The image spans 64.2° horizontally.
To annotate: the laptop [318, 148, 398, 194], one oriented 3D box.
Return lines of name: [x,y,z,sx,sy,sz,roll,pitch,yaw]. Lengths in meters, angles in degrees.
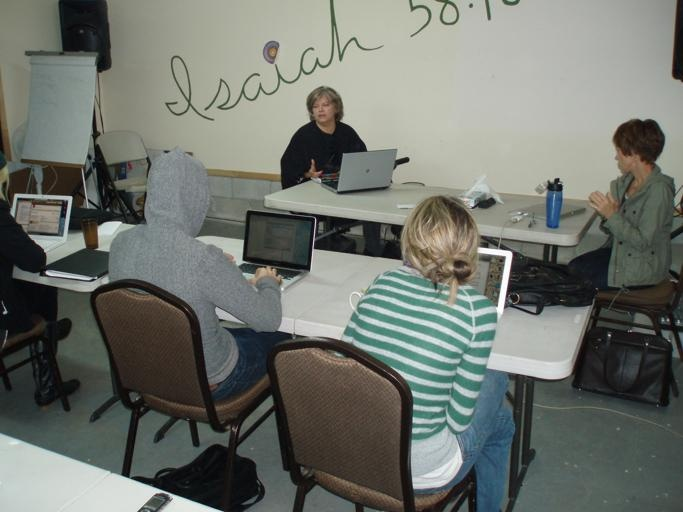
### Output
laptop: [0.163,-0.582,3.779,0.375,0.255,0.373,-9,20,-26]

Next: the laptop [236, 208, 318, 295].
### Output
laptop: [-0.309,-0.052,2.790,0.403,0.374,0.310,7,25,7]

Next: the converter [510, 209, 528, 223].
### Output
converter: [1.076,-0.244,3.307,0.071,0.033,0.104,11,25,39]

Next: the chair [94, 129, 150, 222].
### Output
chair: [-2.091,-0.759,5.548,0.618,0.900,0.732,-4,24,-17]

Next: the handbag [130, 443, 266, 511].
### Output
handbag: [-0.571,0.863,2.248,0.376,0.115,0.531,17,11,34]

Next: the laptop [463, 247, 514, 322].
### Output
laptop: [0.574,0.093,2.325,0.163,0.216,0.224,7,8,-10]

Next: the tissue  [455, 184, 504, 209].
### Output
tissue : [0.906,-0.394,3.587,0.218,0.112,0.287,-20,11,-18]

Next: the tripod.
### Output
tripod: [-2.416,-0.877,5.467,0.649,1.110,0.602,-10,6,-11]

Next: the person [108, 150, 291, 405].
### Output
person: [-0.601,0.046,2.358,0.749,0.994,0.709,7,17,26]

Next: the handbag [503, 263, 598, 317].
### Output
handbag: [0.966,0.120,2.497,0.357,0.185,0.458,7,14,21]

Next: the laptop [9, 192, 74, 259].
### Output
laptop: [-1.619,-0.149,3.032,0.303,0.250,0.353,36,17,21]

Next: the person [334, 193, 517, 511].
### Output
person: [0.370,0.431,1.886,0.654,1.265,0.294,-3,13,-16]
